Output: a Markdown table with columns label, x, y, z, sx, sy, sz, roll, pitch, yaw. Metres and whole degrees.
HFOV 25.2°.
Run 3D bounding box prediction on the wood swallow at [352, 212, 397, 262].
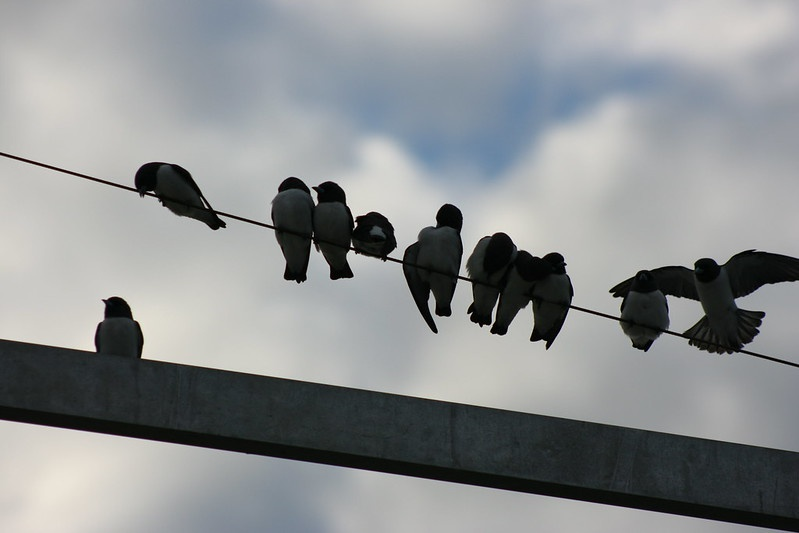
| label | x | y | z | sx | sy | sz | roll | pitch | yaw |
| --- | --- | --- | --- | --- | --- | --- | --- | --- | --- |
| wood swallow | -0.213 | -0.234 | 14.020 | 0.289 | 0.400 | 0.239 | 10 | -56 | -12 |

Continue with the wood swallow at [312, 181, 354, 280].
| label | x | y | z | sx | sy | sz | roll | pitch | yaw |
| --- | --- | --- | --- | --- | --- | --- | --- | --- | --- |
| wood swallow | -0.596 | -0.305 | 15.463 | 0.394 | 0.895 | 0.649 | 8 | -18 | -2 |

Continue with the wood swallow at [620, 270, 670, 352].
| label | x | y | z | sx | sy | sz | roll | pitch | yaw |
| --- | --- | --- | --- | --- | --- | --- | --- | --- | --- |
| wood swallow | 2.094 | 0.361 | 15.196 | 0.318 | 0.450 | 0.622 | 4 | -62 | 11 |

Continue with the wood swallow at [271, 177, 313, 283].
| label | x | y | z | sx | sy | sz | roll | pitch | yaw |
| --- | --- | --- | --- | --- | --- | --- | --- | --- | --- |
| wood swallow | -0.871 | -0.378 | 14.445 | 0.280 | 0.889 | 0.359 | -2 | 3 | -1 |

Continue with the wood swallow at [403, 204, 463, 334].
| label | x | y | z | sx | sy | sz | roll | pitch | yaw |
| --- | --- | --- | --- | --- | --- | --- | --- | --- | --- |
| wood swallow | 0.266 | 0.002 | 15.521 | 0.489 | 1.205 | 0.648 | 7 | -18 | 0 |

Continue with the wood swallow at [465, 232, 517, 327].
| label | x | y | z | sx | sy | sz | roll | pitch | yaw |
| --- | --- | --- | --- | --- | --- | --- | --- | --- | --- |
| wood swallow | 0.793 | 0.083 | 15.553 | 0.404 | 0.374 | 0.895 | 19 | -39 | 10 |

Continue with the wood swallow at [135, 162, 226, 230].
| label | x | y | z | sx | sy | sz | roll | pitch | yaw |
| --- | --- | --- | --- | --- | --- | --- | --- | --- | --- |
| wood swallow | -1.952 | -0.665 | 15.690 | 0.428 | 0.424 | 0.987 | -28 | -37 | 35 |
